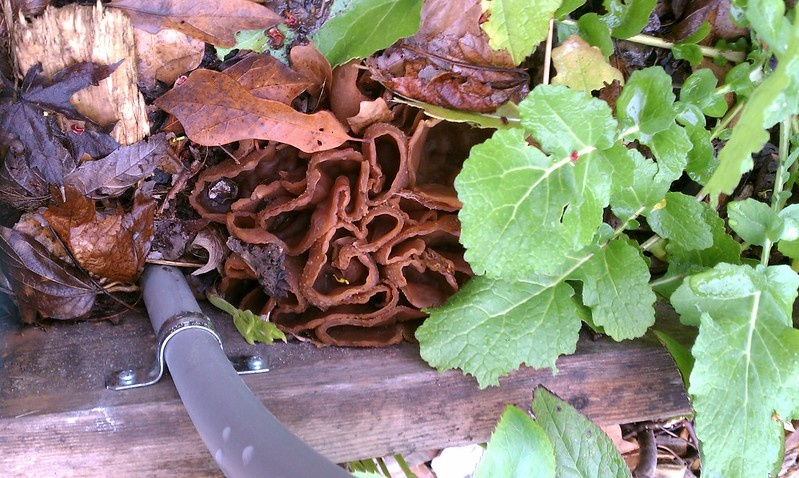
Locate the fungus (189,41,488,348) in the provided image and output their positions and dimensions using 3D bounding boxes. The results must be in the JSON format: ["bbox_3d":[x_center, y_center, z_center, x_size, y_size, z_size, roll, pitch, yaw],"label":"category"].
[{"bbox_3d":[-0.184,-0.085,1.800,0.845,0.680,0.546,7,48,-7],"label":"fungus"}]
